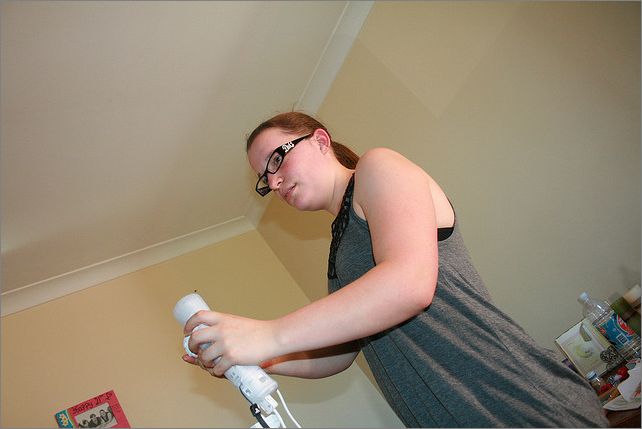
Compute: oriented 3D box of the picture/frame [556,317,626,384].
[{"bbox_3d":[1.110,0.573,1.786,0.272,0.259,0.051,-46,-18,-27],"label":"picture/frame"}]
